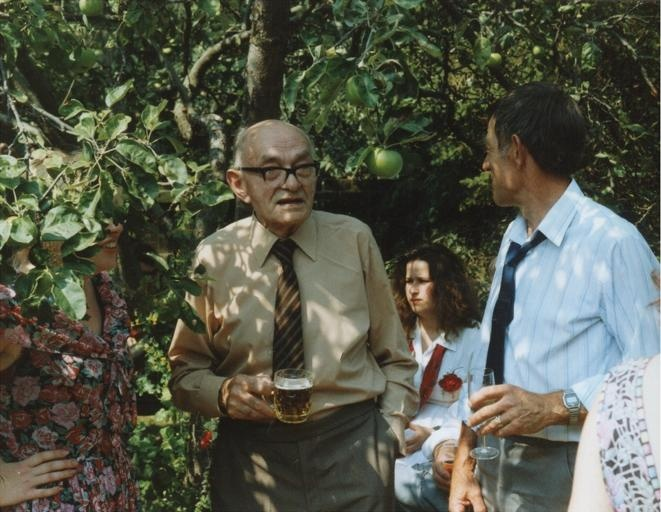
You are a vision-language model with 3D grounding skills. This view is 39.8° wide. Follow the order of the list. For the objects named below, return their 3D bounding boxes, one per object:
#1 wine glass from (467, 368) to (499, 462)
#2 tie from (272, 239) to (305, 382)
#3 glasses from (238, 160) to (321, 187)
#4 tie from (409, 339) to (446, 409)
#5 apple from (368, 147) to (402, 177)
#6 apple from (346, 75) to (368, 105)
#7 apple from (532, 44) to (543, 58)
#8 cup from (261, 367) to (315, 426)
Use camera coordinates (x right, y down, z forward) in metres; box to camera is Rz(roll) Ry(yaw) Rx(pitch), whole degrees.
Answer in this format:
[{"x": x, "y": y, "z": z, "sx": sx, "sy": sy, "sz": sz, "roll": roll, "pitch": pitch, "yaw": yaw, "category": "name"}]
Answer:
[{"x": 0.694, "y": 0.725, "z": 4.150, "sx": 0.128, "sy": 0.410, "sz": 0.340, "roll": -4, "pitch": -11, "yaw": 9, "category": "wine glass"}, {"x": -0.200, "y": 0.217, "z": 4.287, "sx": 0.140, "sy": 0.625, "sz": 0.083, "roll": -1, "pitch": -11, "yaw": -5, "category": "tie"}, {"x": -0.248, "y": -0.390, "z": 4.275, "sx": 0.348, "sy": 0.106, "sz": 0.090, "roll": -3, "pitch": -11, "yaw": 3, "category": "glasses"}, {"x": 0.572, "y": 0.698, "z": 5.289, "sx": 0.101, "sy": 0.599, "sz": 0.036, "roll": 13, "pitch": -33, "yaw": 15, "category": "tie"}, {"x": 0.277, "y": -0.459, "z": 4.497, "sx": 0.139, "sy": 0.138, "sz": 0.145, "roll": 13, "pitch": -15, "yaw": 35, "category": "apple"}, {"x": 0.114, "y": -0.762, "z": 4.156, "sx": 0.056, "sy": 0.121, "sz": 0.096, "roll": -23, "pitch": -15, "yaw": -39, "category": "apple"}, {"x": 1.085, "y": -1.088, "z": 4.807, "sx": 0.050, "sy": 0.057, "sz": 0.050, "roll": -5, "pitch": -44, "yaw": 10, "category": "apple"}, {"x": -0.175, "y": 0.610, "z": 4.013, "sx": 0.209, "sy": 0.231, "sz": 0.158, "roll": -5, "pitch": -11, "yaw": 17, "category": "cup"}]
